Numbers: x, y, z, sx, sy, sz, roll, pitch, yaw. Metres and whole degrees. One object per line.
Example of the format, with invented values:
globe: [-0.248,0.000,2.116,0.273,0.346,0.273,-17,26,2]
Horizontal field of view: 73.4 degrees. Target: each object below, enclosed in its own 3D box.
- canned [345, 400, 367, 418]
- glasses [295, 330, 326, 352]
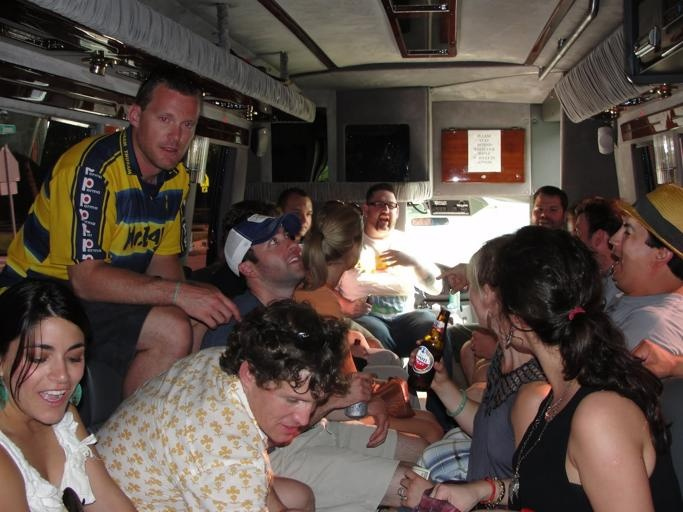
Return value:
canned: [0.081,0.814,2.443,0.101,0.059,0.099,1,-1,2]
glasses: [-0.116,0.296,1.606,0.066,0.050,0.086,7,-22,21]
